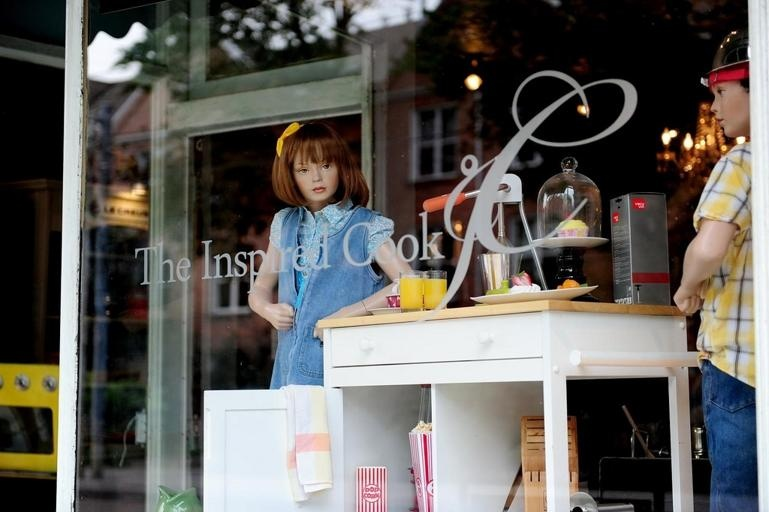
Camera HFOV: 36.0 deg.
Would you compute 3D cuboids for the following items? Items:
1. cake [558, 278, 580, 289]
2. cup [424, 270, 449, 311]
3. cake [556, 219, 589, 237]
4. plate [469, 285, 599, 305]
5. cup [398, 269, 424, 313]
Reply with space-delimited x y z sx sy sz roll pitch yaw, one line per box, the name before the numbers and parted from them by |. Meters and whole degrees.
cake | 0.700 0.108 4.557 0.047 0.022 0.049 -8 1 37
cup | 0.199 0.140 4.656 0.111 0.174 0.101 1 -11 0
cake | 0.728 -0.105 4.589 0.078 0.050 0.078 3 -5 -33
plate | 0.553 0.150 4.464 0.471 0.074 0.302 -3 -9 10
cup | 0.102 0.140 4.681 0.133 0.212 0.126 0 -8 0
